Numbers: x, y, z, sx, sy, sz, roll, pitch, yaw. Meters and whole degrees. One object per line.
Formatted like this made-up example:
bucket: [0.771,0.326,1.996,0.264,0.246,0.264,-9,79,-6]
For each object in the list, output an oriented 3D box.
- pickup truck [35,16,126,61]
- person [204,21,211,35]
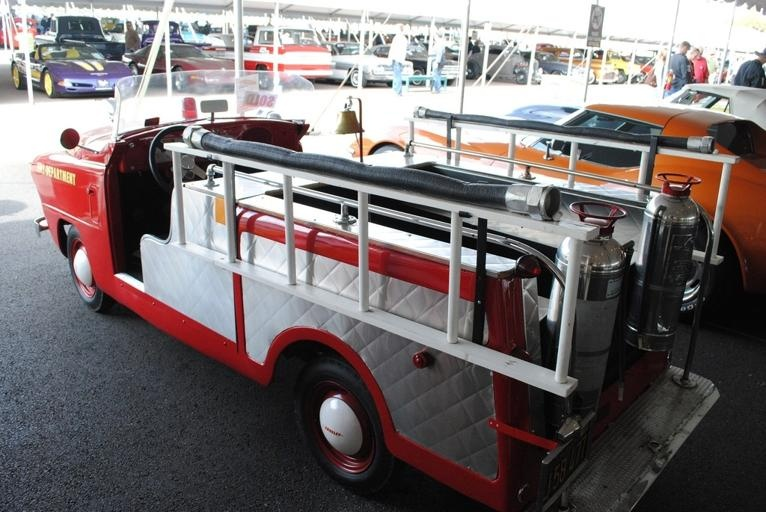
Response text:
pickup truck: [-11.007,-7.396,18.515,2.654,0.998,1.099,32,43,29]
person: [-11.409,-14.818,33.660,0.303,1.082,0.715,-3,19,-39]
